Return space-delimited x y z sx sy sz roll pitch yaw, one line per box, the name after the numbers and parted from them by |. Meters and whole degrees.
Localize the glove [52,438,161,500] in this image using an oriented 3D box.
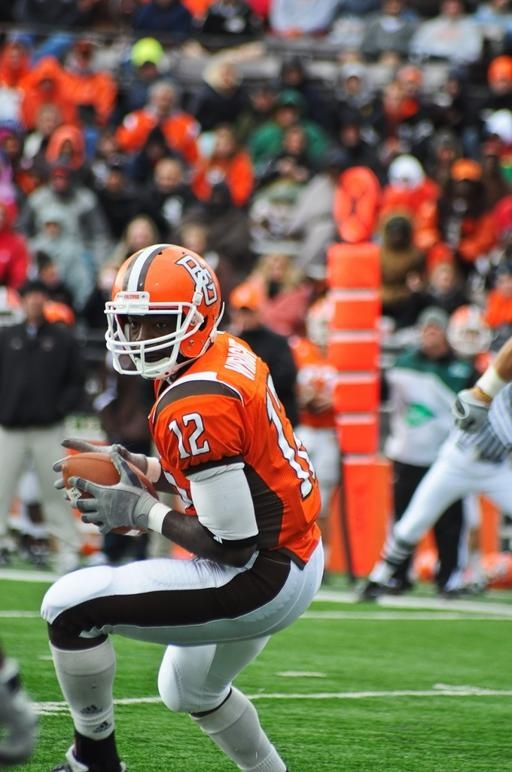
-0.373 0.196 2.560 0.254 0.238 0.153 12 95 41 | glove

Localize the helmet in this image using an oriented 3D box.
-0.263 -0.196 2.505 0.280 0.372 0.295 1 109 34 | helmet

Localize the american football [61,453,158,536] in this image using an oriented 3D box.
-0.375 0.242 2.469 0.258 0.185 0.085 25 97 14 | american football
